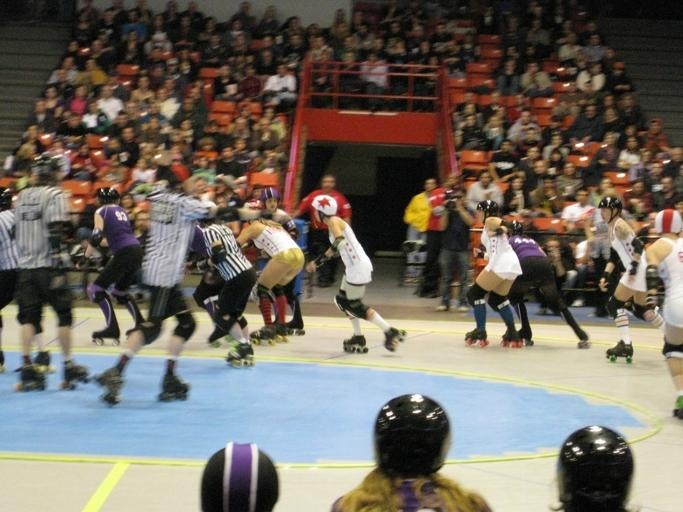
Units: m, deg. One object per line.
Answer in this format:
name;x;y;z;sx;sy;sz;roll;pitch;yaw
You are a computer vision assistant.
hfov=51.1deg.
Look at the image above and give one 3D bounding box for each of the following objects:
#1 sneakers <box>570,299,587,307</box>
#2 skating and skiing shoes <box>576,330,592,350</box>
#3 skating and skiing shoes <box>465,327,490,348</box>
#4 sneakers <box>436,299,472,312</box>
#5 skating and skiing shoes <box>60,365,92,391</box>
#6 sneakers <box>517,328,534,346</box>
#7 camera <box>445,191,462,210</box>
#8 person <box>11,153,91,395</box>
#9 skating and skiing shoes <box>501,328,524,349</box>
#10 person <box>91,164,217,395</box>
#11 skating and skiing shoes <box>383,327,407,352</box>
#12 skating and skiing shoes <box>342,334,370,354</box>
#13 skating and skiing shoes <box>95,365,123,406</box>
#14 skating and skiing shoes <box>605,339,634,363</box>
sneakers;3.967;0.789;11.915;0.255;0.136;0.095;4;2;-17
skating and skiing shoes;3.155;1.088;9.293;0.163;0.226;0.229;5;2;21
skating and skiing shoes;1.742;1.068;9.207;0.248;0.138;0.273;17;-3;1
sneakers;1.803;0.811;11.498;0.610;0.234;0.168;2;-9;-3
skating and skiing shoes;-2.567;1.179;6.879;0.240;0.120;0.297;0;1;-7
sneakers;2.447;1.085;9.465;0.216;0.228;0.091;-5;-1;3
camera;1.794;-0.888;11.432;0.246;0.251;0.364;5;1;7
person;-2.946;0.136;7.054;0.918;2.128;0.824;1;5;-20
skating and skiing shoes;2.209;1.107;9.307;0.303;0.254;0.230;15;-23;-12
person;-1.704;0.172;6.706;0.882;2.141;0.863;-4;15;-14
skating and skiing shoes;0.641;1.030;8.703;0.243;0.265;0.268;5;1;2
skating and skiing shoes;0.174;1.099;8.765;0.424;0.231;0.140;3;4;7
skating and skiing shoes;-2.052;1.172;6.445;0.284;0.315;0.178;1;4;23
skating and skiing shoes;3.339;1.137;8.565;0.298;0.258;0.377;5;1;20
